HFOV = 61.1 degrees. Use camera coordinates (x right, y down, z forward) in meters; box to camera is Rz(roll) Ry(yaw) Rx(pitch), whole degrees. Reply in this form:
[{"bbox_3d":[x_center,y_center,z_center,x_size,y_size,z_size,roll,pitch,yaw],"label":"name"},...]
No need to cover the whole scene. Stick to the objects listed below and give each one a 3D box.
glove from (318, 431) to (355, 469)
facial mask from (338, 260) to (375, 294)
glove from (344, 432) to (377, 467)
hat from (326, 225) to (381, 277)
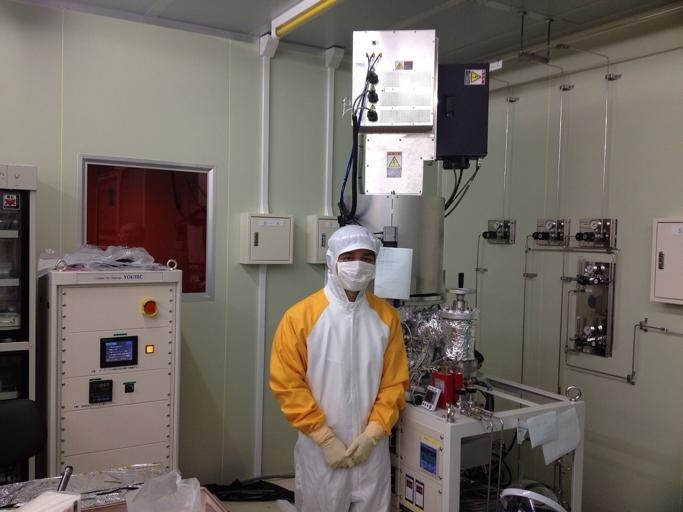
[{"bbox_3d":[-0.025,1.029,2.996,0.128,0.211,0.055,-30,-12,-20],"label":"glove"},{"bbox_3d":[0.073,0.103,3.044,0.136,0.114,0.177,0,7,-13],"label":"facial mask"},{"bbox_3d":[0.099,1.009,3.012,0.129,0.178,0.071,27,25,-43],"label":"glove"},{"bbox_3d":[0.050,-0.033,3.077,0.210,0.248,0.273,1,4,0],"label":"hat"}]
